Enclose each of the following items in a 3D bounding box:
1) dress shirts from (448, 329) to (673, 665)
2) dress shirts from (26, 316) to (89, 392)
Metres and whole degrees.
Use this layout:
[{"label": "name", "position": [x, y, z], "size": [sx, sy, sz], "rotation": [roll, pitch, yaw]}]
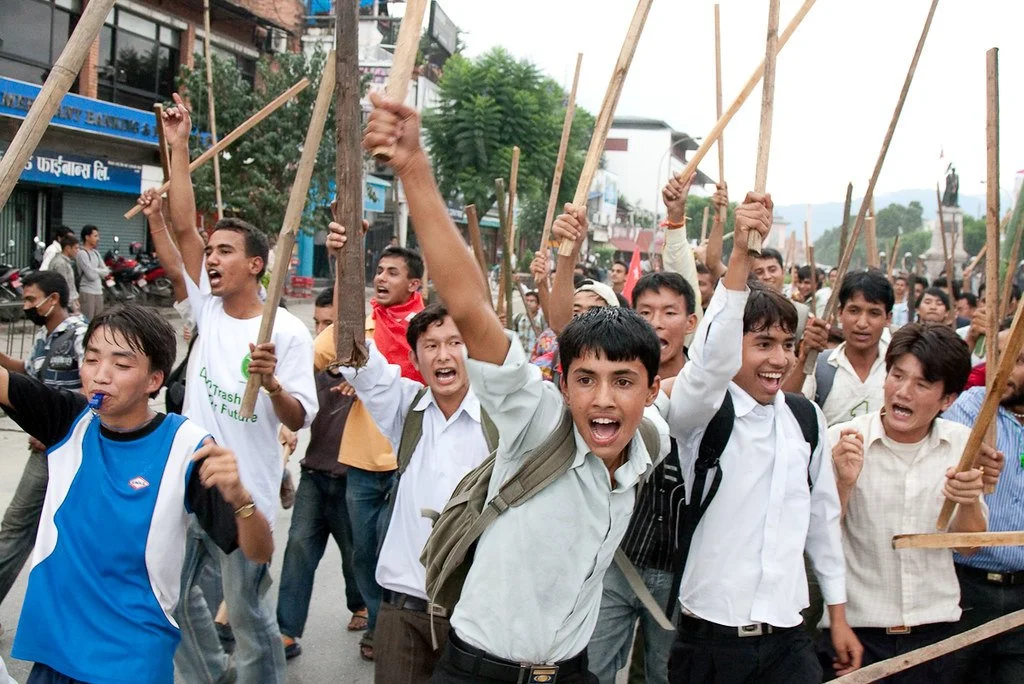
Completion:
[{"label": "dress shirts", "position": [0.187, 0.814, 3.618], "size": [1.106, 1.152, 0.505], "rotation": [23, -18, -15]}, {"label": "dress shirts", "position": [-3.348, 0.114, 6.191], "size": [0.567, 0.591, 0.315], "rotation": [3, 1, 21]}]
